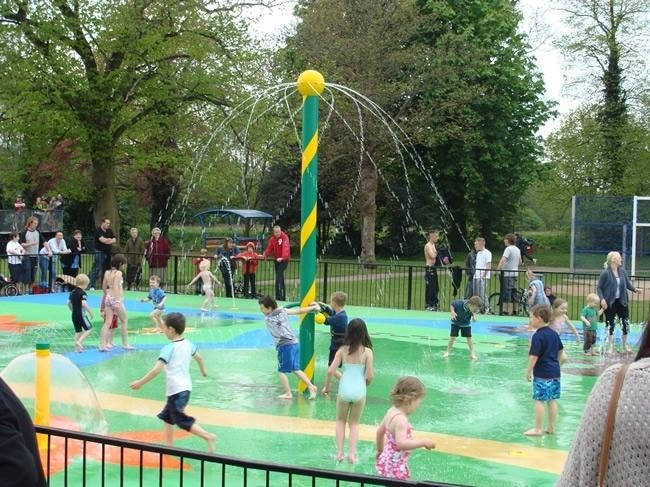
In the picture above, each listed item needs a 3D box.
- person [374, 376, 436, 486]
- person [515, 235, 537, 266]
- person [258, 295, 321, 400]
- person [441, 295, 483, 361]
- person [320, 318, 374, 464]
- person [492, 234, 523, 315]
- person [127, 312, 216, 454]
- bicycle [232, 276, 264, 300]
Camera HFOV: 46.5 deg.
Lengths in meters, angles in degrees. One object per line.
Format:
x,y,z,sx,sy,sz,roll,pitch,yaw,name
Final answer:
0.933,2.236,9.131,0.743,1.230,0.486,0,-2,20,person
8.137,0.344,30.435,0.761,1.843,1.142,-6,1,18,person
-0.636,1.755,12.763,0.953,1.738,0.946,1,-2,-2,person
2.789,1.651,15.220,0.590,1.468,0.558,8,22,14,person
0.363,2.037,10.558,0.579,1.957,0.507,0,-2,19,person
5.040,0.859,20.640,0.563,2.183,1.523,0,-2,14,person
-2.079,1.923,10.488,1.072,1.918,0.435,1,-2,-9,person
-2.471,1.359,23.323,0.551,0.542,0.833,-1,-9,-3,bicycle
